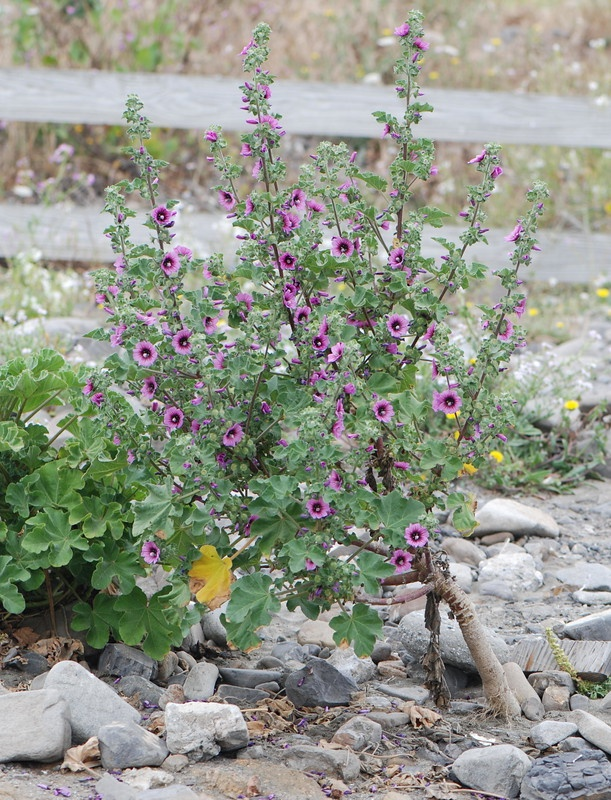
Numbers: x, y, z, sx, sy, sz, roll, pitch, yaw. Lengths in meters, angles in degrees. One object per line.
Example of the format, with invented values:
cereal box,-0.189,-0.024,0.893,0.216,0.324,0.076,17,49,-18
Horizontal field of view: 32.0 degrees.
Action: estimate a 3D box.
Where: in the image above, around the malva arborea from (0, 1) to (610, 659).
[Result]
malva arborea,-0.096,-0.060,2.594,1.237,1.703,0.829,4,19,9
